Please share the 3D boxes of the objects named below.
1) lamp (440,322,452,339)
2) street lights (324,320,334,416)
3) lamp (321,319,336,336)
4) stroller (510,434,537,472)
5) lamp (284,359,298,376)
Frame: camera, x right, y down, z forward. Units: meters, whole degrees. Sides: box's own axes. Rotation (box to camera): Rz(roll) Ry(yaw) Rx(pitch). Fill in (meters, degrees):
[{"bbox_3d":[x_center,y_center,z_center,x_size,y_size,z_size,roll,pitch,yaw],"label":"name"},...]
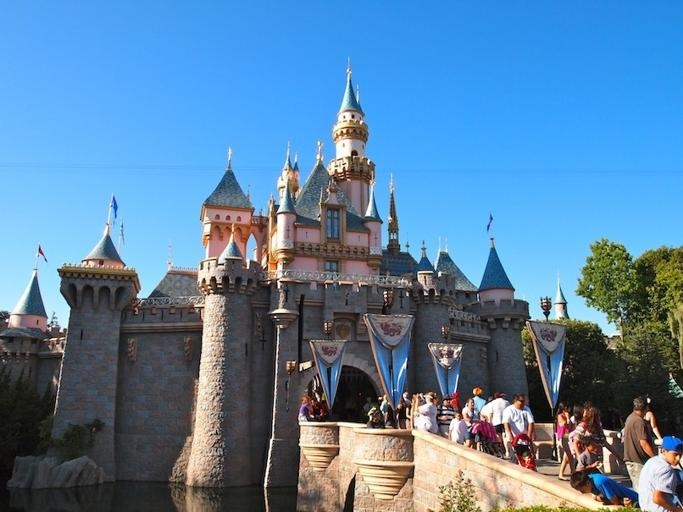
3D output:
[{"bbox_3d":[6.040,4.370,41.021,0.889,1.150,0.449,4,-7,-37],"label":"lamp"},{"bbox_3d":[-0.734,5.752,36.679,0.635,4.788,0.831,-1,-8,4],"label":"street lights"},{"bbox_3d":[-0.585,4.003,38.466,0.647,1.198,0.749,2,-4,-10],"label":"lamp"},{"bbox_3d":[6.119,6.655,23.622,0.700,1.254,1.157,-4,-33,5],"label":"stroller"},{"bbox_3d":[-2.791,6.099,38.573,0.650,0.825,0.761,1,-9,-11],"label":"lamp"}]
